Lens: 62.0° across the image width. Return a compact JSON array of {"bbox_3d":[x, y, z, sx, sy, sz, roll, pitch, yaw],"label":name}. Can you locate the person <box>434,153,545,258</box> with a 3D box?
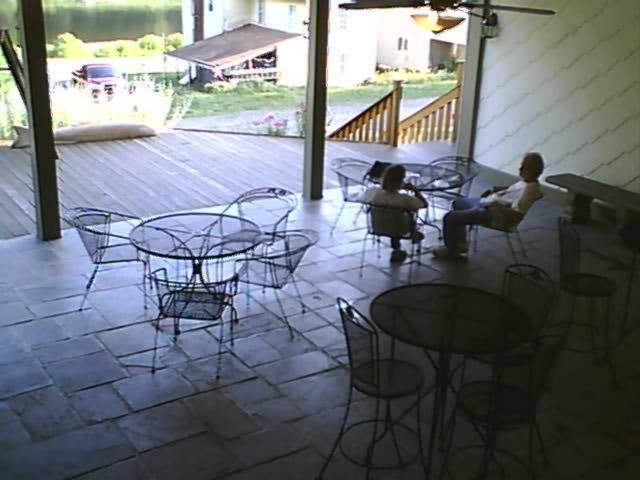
[{"bbox_3d":[2.046,-0.399,6.478,1.098,1.414,0.601,13,33,15],"label":"person"}]

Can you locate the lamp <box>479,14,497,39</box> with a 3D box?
[{"bbox_3d":[2.736,-3.457,8.623,0.281,0.396,0.520,15,27,28],"label":"lamp"}]

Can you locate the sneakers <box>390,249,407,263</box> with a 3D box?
[{"bbox_3d":[0.964,0.202,6.495,0.203,0.088,0.147,-27,51,-24],"label":"sneakers"}]
